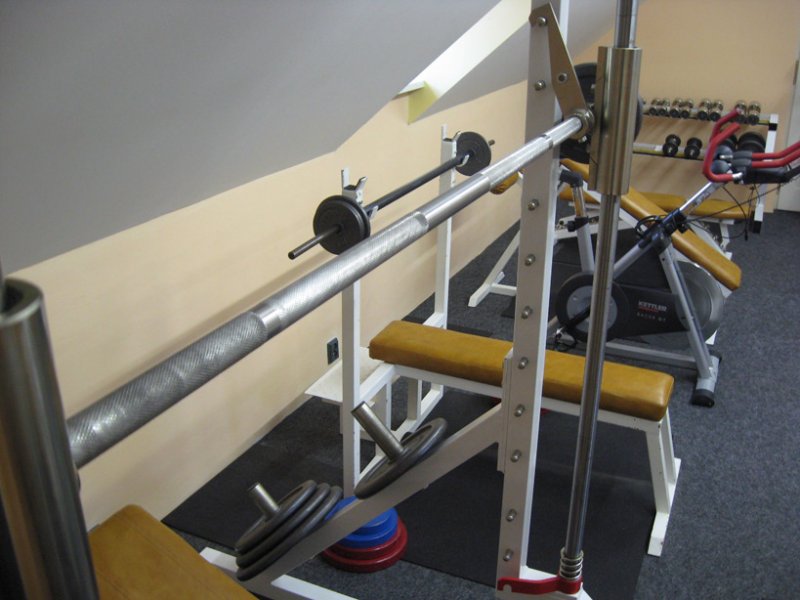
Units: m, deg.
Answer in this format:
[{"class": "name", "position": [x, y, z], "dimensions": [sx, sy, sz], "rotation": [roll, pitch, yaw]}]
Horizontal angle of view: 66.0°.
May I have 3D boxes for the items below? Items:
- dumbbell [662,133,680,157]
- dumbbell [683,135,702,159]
[{"class": "dumbbell", "position": [2.047, -1.147, 4.634], "dimensions": [0.097, 0.179, 0.273], "rotation": [8, 30, 30]}, {"class": "dumbbell", "position": [2.191, -1.124, 4.605], "dimensions": [0.118, 0.192, 0.301], "rotation": [4, 28, 23]}]
